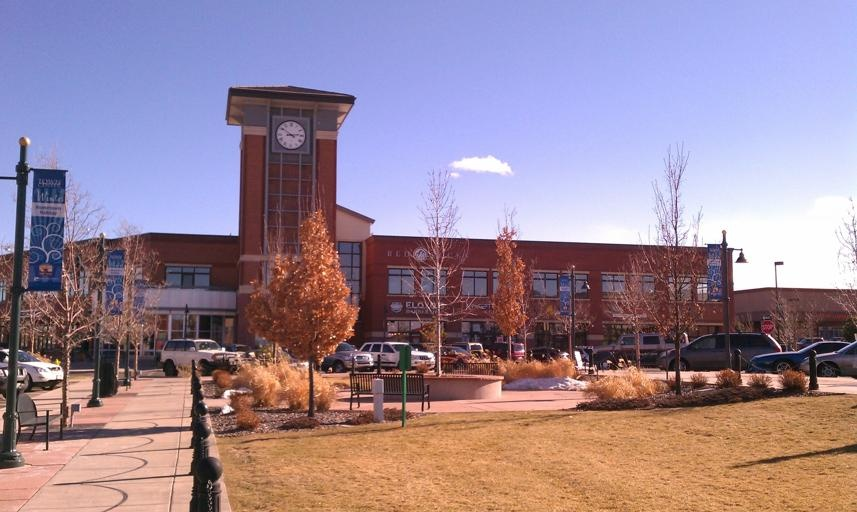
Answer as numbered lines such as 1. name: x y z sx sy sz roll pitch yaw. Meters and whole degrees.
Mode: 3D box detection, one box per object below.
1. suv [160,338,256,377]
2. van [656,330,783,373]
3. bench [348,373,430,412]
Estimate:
1. suv: -12.531 6.161 43.349 6.663 2.628 2.592 2 -4 -37
2. van: 15.316 5.044 40.888 6.833 2.563 3.276 0 -8 12
3. bench: -1.456 4.787 27.907 2.671 1.398 0.906 -1 7 7
